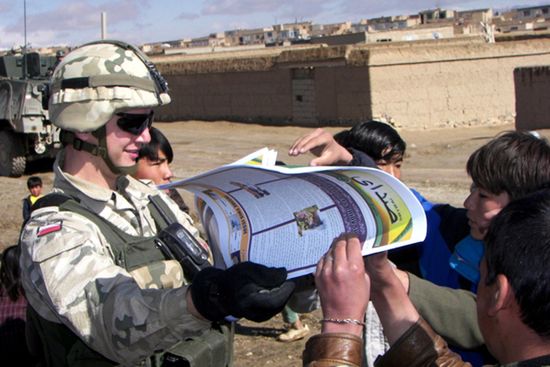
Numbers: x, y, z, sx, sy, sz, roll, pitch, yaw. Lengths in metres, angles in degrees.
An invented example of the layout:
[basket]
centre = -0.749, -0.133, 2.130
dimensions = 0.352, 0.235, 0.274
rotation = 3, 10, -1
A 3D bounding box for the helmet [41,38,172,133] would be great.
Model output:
[helmet]
centre = -0.835, -0.503, 2.693
dimensions = 0.563, 0.407, 0.576
rotation = 5, 16, 7

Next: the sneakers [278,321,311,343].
[sneakers]
centre = 0.164, 1.249, 4.482
dimensions = 0.305, 0.116, 0.121
rotation = -15, 11, -35

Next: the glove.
[glove]
centre = -0.098, 0.354, 1.868
dimensions = 0.282, 0.115, 0.219
rotation = -19, 44, -30
